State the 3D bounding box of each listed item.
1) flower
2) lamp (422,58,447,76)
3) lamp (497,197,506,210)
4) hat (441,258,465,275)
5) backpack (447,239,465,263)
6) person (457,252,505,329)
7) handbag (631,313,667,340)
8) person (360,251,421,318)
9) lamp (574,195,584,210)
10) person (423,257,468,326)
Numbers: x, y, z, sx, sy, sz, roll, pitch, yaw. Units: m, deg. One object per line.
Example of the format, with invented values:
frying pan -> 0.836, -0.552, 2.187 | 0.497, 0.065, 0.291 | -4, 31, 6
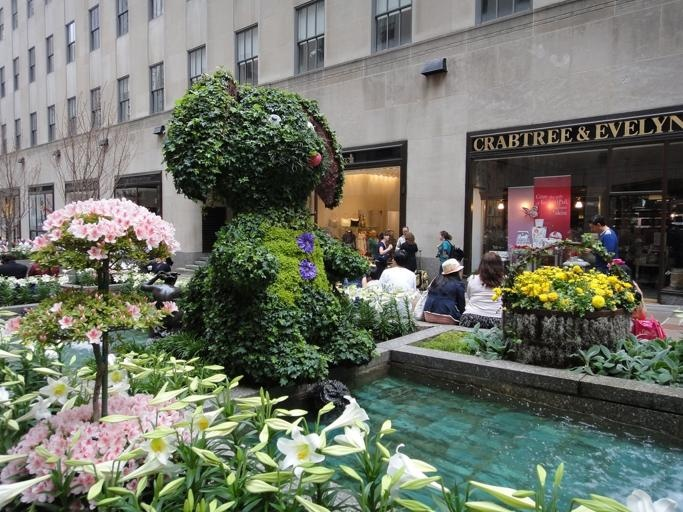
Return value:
flower -> 2.655, 0.381, 5.600 | 1.469, 0.609, 0.837 | 2, 0, 8
lamp -> 2.485, -5.100, 12.926 | 0.665, 0.469, 0.275 | 2, 1, 36
lamp -> 4.192, -1.341, 12.599 | 0.235, 0.509, 0.222 | 1, 6, 19
hat -> 1.745, 0.229, 7.813 | 0.314, 0.137, 0.350 | -36, 15, -35
backpack -> 2.951, -0.072, 12.568 | 0.496, 0.562, 0.389 | -1, 4, -5
person -> 2.165, 0.529, 7.360 | 0.636, 1.200, 0.604 | 1, 0, 19
handbag -> 3.780, 0.894, 5.920 | 0.334, 0.306, 0.495 | 2, 0, 32
person -> 0.828, 0.426, 7.844 | 0.792, 1.022, 1.174 | 1, 0, 7
lamp -> 5.745, -1.284, 11.642 | 0.211, 0.274, 0.227 | 0, 0, 1
person -> 1.882, 0.627, 8.178 | 0.763, 1.102, 0.821 | 5, -4, 28
